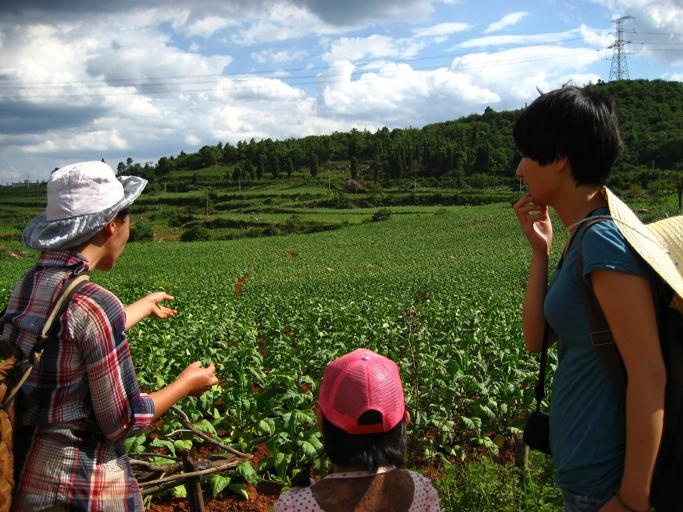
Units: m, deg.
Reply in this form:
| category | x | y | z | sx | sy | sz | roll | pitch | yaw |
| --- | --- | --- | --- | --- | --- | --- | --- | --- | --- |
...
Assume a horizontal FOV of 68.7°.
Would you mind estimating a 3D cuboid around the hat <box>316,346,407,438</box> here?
| category | x | y | z | sx | sy | sz | roll | pitch | yaw |
| --- | --- | --- | --- | --- | --- | --- | --- | --- | --- |
| hat | 0.122 | 0.692 | 2.665 | 0.316 | 0.272 | 0.435 | 1 | 16 | -1 |
